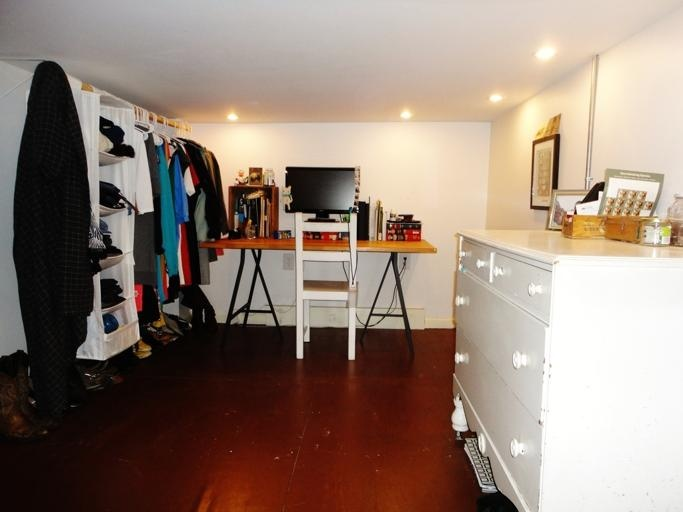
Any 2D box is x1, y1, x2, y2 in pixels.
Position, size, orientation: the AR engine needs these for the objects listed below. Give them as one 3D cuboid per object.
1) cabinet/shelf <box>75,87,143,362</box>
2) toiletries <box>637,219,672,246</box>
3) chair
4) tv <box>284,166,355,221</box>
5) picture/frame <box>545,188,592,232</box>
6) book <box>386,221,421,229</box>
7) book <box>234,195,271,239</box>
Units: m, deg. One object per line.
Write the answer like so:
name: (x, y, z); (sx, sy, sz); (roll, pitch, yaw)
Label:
cabinet/shelf: (-1.547, -0.201, 3.256); (0.225, 1.677, 0.549); (1, 13, 8)
toiletries: (1.424, -0.105, 2.296); (0.113, 0.139, 0.122); (-1, 2, -3)
chair: (-0.134, 0.186, 4.216); (0.515, 1.211, 0.769); (-1, 13, -4)
tv: (-0.186, -0.565, 4.424); (0.469, 0.379, 0.129); (1, 4, 3)
picture/frame: (1.276, -0.254, 2.779); (0.265, 0.320, 0.020); (2, -1, 20)
book: (0.555, -0.282, 4.465); (0.308, 0.067, 0.097); (2, 14, 10)
book: (-0.801, -0.345, 4.745); (0.360, 0.554, 0.356); (1, 0, 11)
